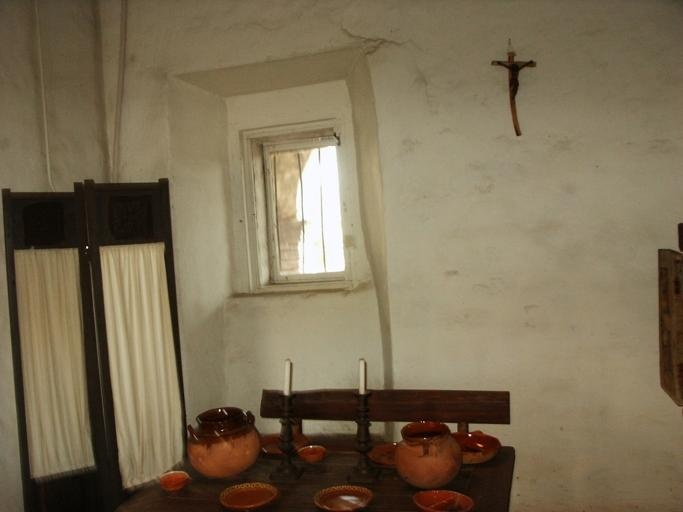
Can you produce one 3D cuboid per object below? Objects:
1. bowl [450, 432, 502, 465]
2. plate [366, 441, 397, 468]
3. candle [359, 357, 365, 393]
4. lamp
[{"bbox_3d":[0.624,0.900,3.673,0.227,0.066,0.307,1,10,9],"label":"bowl"},{"bbox_3d":[0.200,0.953,3.703,0.093,0.030,0.095,2,9,41],"label":"plate"},{"bbox_3d":[0.095,0.565,3.629,0.028,0.162,0.047,-1,1,3],"label":"candle"},{"bbox_3d":[0.954,-0.942,4.287,0.244,0.542,0.133,-1,1,13],"label":"lamp"}]
